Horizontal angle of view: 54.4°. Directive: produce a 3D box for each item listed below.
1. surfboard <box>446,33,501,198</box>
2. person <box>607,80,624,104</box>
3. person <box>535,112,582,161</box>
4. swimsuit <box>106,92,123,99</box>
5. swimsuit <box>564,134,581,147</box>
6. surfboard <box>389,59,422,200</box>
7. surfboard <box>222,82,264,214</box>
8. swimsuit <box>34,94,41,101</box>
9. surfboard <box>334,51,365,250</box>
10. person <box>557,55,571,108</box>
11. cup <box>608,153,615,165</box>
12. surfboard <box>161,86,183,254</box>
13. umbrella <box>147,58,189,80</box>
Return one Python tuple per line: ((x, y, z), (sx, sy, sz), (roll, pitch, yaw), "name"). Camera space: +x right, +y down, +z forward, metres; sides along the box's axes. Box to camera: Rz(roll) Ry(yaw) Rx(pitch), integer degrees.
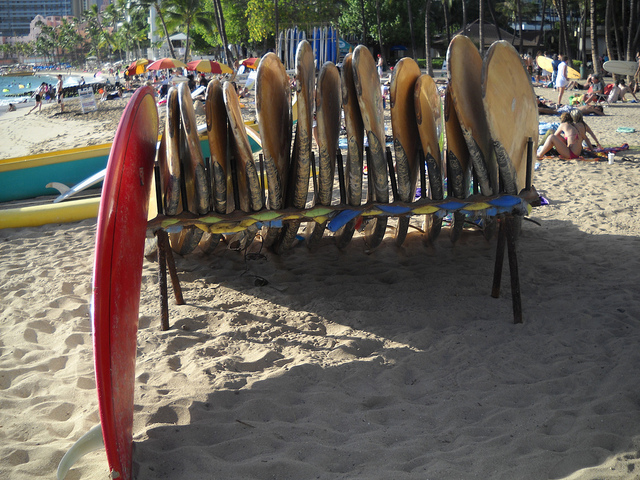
((1.309, -1.039, 5.325), (0.167, 1.116, 1.170), (2, 53, 19), "surfboard")
((8.387, -4.184, 17.705), (0.272, 0.456, 0.716), (5, 16, 33), "person")
((4.021, -1.748, 10.348), (0.666, 0.744, 0.456), (3, 13, 25), "person")
((-9.561, -6.772, 29.004), (0.370, 0.283, 0.770), (0, 15, 11), "swimsuit")
((4.179, -1.666, 10.285), (0.229, 0.184, 0.243), (3, 15, 23), "swimsuit")
((0.760, -0.969, 5.426), (0.285, 1.010, 1.056), (-1, 52, 4), "surfboard")
((-0.645, -0.788, 5.317), (0.255, 1.099, 0.537), (-5, 12, -14), "surfboard")
((-12.504, -6.405, 27.740), (0.241, 0.267, 1.910), (-8, 16, -22), "swimsuit")
((0.283, -0.772, 5.475), (0.219, 1.720, 0.799), (-2, 12, 3), "surfboard")
((6.794, -4.543, 17.475), (0.331, 1.543, 0.430), (-3, 18, 8), "person")
((4.555, -1.293, 9.710), (0.117, 0.191, 0.120), (-1, 4, 0), "cup")
((-1.268, -0.581, 5.390), (0.122, 1.877, 1.301), (-2, 7, -12), "surfboard")
((-5.408, -6.435, 22.927), (0.957, 0.742, 1.062), (-1, 5, 16), "umbrella")
